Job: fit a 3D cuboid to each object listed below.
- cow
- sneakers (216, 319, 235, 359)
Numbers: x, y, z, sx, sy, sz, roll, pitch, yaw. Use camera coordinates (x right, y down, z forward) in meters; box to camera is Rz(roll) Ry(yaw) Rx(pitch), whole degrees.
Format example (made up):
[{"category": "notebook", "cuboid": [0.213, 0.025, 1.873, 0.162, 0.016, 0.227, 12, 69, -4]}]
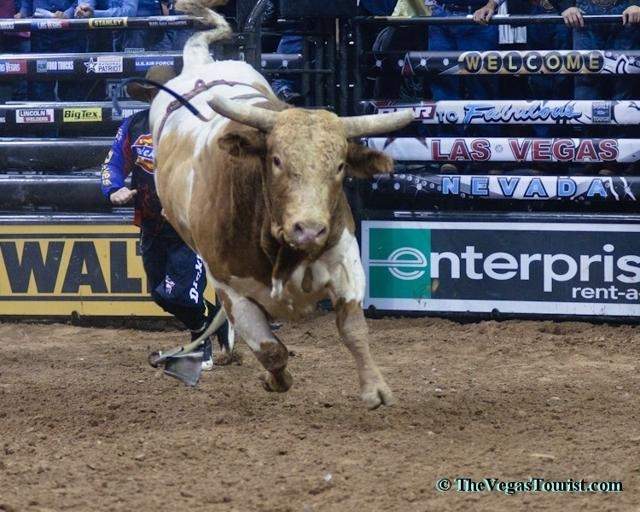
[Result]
[{"category": "cow", "cuboid": [-0.356, -0.177, 10.212, 1.211, 2.397, 2.293, -8, 12, -18]}, {"category": "sneakers", "cuboid": [-0.757, 0.676, 11.659, 0.073, 0.276, 0.176, -8, -19, -42]}]
